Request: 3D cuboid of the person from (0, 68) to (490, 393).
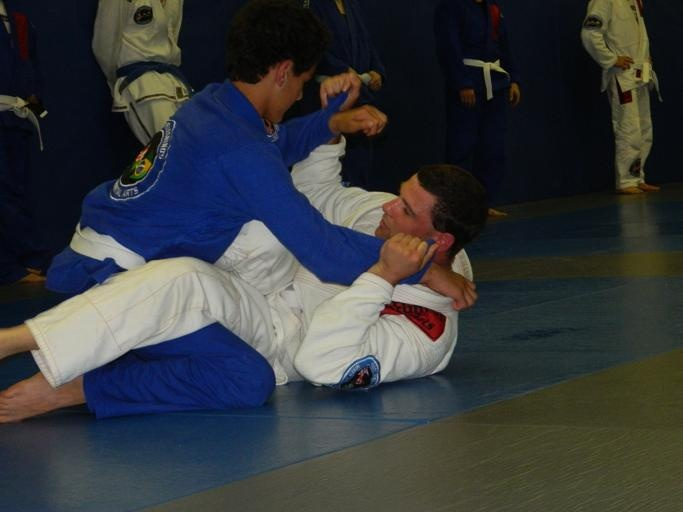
[{"bbox_3d":[-0.282,-0.089,1.953,1.341,0.682,0.948,-2,19,-8],"label":"person"}]
